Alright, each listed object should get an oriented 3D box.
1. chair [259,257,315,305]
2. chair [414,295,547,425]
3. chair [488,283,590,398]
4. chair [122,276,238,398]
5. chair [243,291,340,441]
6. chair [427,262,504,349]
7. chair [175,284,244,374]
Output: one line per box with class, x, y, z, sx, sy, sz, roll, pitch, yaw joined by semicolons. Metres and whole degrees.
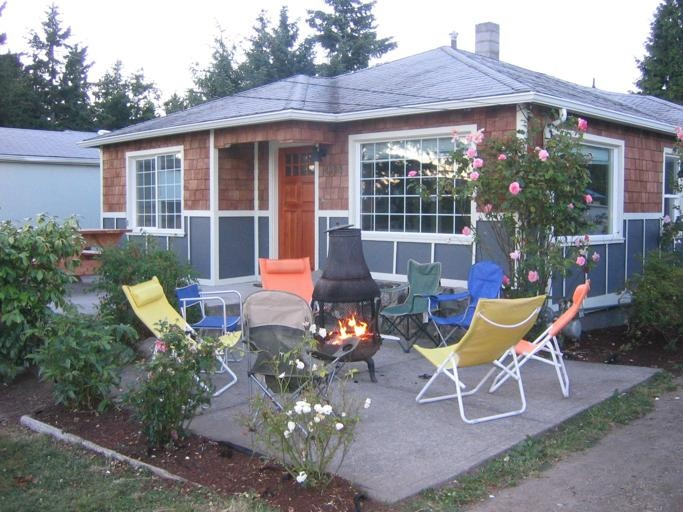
chair;-0.765;0.354;8.094;0.527;0.688;0.672;-2;-5;-11
chair;1.311;0.895;5.662;1.076;1.139;0.799;-5;9;-32
chair;2.095;0.826;6.257;0.877;1.231;0.679;5;7;30
chair;-1.705;0.723;6.190;0.885;0.924;0.650;0;10;18
chair;-0.439;1.005;5.779;0.754;1.472;0.990;2;7;14
chair;1.464;0.682;7.382;0.879;1.238;0.918;6;7;19
chair;-1.612;0.880;7.637;0.848;1.277;1.046;1;4;14
